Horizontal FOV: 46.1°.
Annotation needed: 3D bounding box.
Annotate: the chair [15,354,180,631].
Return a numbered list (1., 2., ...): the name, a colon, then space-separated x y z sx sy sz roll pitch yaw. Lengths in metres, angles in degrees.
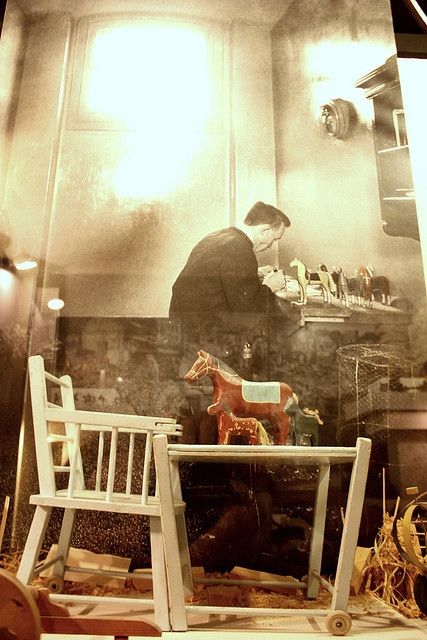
1. chair: -0.324 0.436 1.412 0.451 0.682 0.645 1 -1 -5

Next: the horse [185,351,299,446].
1. horse: 0.095 0.249 1.456 0.361 0.248 0.093 7 -9 -15
